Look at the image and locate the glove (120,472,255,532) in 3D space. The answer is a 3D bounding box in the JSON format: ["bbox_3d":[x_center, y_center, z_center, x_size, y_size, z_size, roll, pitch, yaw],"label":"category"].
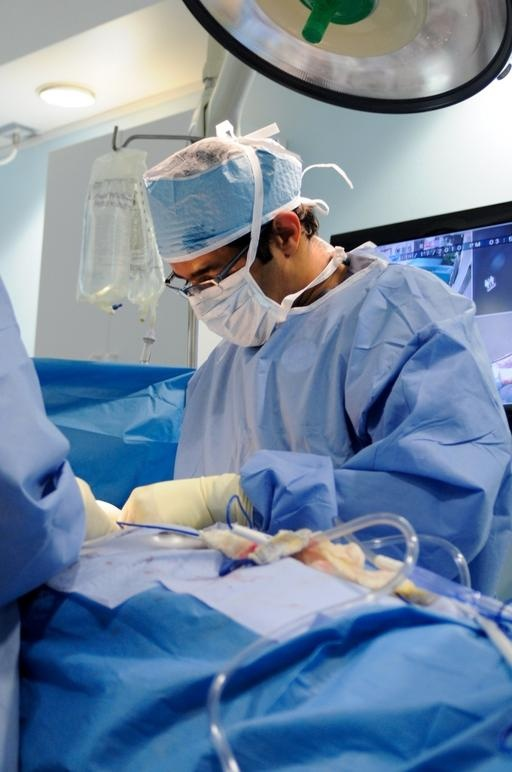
[{"bbox_3d":[-0.122,0.152,1.041,0.183,0.090,0.155,-10,9,-42],"label":"glove"}]

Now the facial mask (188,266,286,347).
[{"bbox_3d":[-0.020,-0.211,1.583,0.223,0.148,0.251,8,17,-3],"label":"facial mask"}]

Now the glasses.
[{"bbox_3d":[-0.110,-0.288,1.464,0.141,0.038,0.137,-45,27,-13],"label":"glasses"}]
